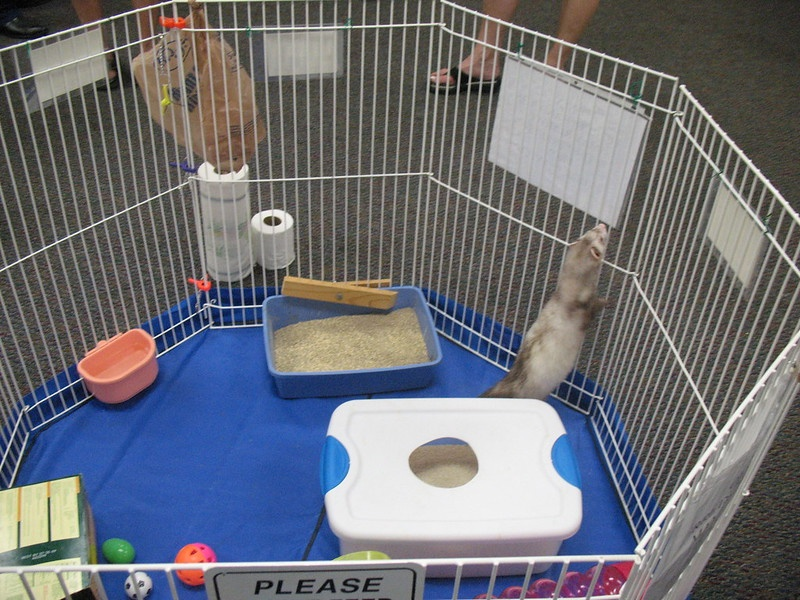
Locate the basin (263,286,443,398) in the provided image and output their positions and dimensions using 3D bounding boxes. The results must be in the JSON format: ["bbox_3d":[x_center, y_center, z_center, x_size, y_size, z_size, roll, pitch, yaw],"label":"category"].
[{"bbox_3d":[-0.165,0.152,2.285,0.568,0.145,0.388,-4,49,-8],"label":"basin"}]

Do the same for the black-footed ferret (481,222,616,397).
[{"bbox_3d":[0.462,0.062,2.046,0.333,0.595,0.149,-24,45,-30],"label":"black-footed ferret"}]

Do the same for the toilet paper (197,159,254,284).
[{"bbox_3d":[-0.730,-0.439,2.678,0.198,0.188,0.399,8,17,-22],"label":"toilet paper"}]

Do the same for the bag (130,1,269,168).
[{"bbox_3d":[-0.658,-0.689,2.239,0.434,0.665,0.455,-15,40,-21],"label":"bag"}]

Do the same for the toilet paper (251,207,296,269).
[{"bbox_3d":[-0.524,-0.224,2.769,0.146,0.159,0.148,11,2,31],"label":"toilet paper"}]

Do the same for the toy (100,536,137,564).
[{"bbox_3d":[-0.796,0.707,1.859,0.067,0.050,0.085,-6,40,-46],"label":"toy"}]

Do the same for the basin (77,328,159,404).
[{"bbox_3d":[-0.962,0.225,2.266,0.207,0.120,0.247,22,43,21],"label":"basin"}]

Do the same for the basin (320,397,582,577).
[{"bbox_3d":[0.126,0.508,1.899,0.677,0.220,0.452,1,47,-4],"label":"basin"}]
